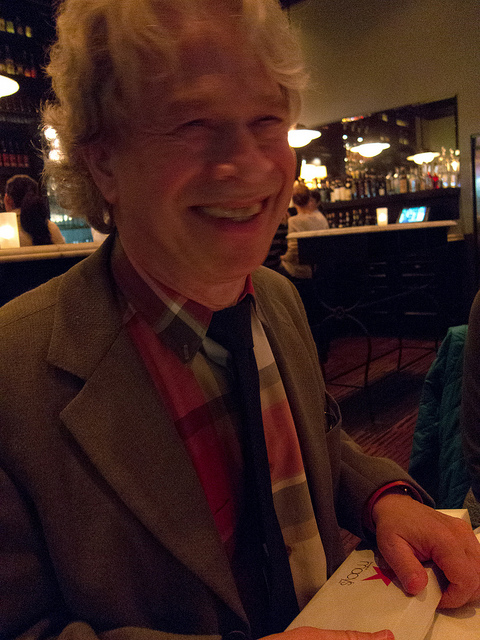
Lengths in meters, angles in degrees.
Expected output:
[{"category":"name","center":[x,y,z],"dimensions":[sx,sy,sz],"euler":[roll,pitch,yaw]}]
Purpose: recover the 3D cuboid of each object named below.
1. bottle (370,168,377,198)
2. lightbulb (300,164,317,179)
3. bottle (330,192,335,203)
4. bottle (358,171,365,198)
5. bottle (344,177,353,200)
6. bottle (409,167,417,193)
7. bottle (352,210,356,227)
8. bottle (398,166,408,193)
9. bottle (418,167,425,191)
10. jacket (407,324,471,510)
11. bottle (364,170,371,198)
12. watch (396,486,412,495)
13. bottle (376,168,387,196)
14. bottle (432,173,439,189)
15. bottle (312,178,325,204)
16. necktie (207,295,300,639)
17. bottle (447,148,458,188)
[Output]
[{"category":"bottle","center":[1.805,-1.875,6.725],"dimensions":[0.089,0.364,0.221],"euler":[-2,12,11]},{"category":"lightbulb","center":[0.920,-1.960,6.640],"dimensions":[0.182,0.201,0.195],"euler":[0,4,-2]},{"category":"bottle","center":[1.302,-1.725,6.993],"dimensions":[0.062,0.141,0.202],"euler":[-2,12,10]},{"category":"bottle","center":[1.670,-1.873,6.840],"dimensions":[0.084,0.348,0.190],"euler":[-2,12,13]},{"category":"bottle","center":[1.508,-1.831,6.910],"dimensions":[0.113,0.296,0.192],"euler":[-2,12,13]},{"category":"bottle","center":[2.217,-1.800,6.350],"dimensions":[0.091,0.295,0.201],"euler":[0,12,19]},{"category":"bottle","center":[1.557,-1.390,6.749],"dimensions":[0.021,0.202,0.049],"euler":[-13,14,-38]},{"category":"bottle","center":[2.113,-1.831,6.443],"dimensions":[0.099,0.327,0.207],"euler":[-3,12,8]},{"category":"bottle","center":[2.292,-1.790,6.275],"dimensions":[0.063,0.272,0.151],"euler":[-3,11,6]},{"category":"jacket","center":[0.709,0.347,1.790],"dimensions":[0.173,0.281,0.702],"euler":[-10,31,28]},{"category":"bottle","center":[1.739,-1.874,6.786],"dimensions":[0.078,0.348,0.190],"euler":[-2,12,9]},{"category":"watch","center":[0.254,0.263,0.764],"dimensions":[0.019,0.005,0.014],"euler":[38,-19,-8]},{"category":"bottle","center":[1.900,-1.868,6.675],"dimensions":[0.129,0.349,0.179],"euler":[-1,12,17]},{"category":"bottle","center":[2.425,-1.722,6.132],"dimensions":[0.065,0.183,0.141],"euler":[0,13,21]},{"category":"bottle","center":[1.116,-1.833,7.050],"dimensions":[0.149,0.372,0.488],"euler":[-2,12,10]},{"category":"necktie","center":[0.010,0.187,0.646],"dimensions":[0.075,0.588,0.072],"euler":[9,-21,-30]},{"category":"bottle","center":[2.579,-1.845,6.002],"dimensions":[0.058,0.427,0.167],"euler":[-8,12,-19]}]
